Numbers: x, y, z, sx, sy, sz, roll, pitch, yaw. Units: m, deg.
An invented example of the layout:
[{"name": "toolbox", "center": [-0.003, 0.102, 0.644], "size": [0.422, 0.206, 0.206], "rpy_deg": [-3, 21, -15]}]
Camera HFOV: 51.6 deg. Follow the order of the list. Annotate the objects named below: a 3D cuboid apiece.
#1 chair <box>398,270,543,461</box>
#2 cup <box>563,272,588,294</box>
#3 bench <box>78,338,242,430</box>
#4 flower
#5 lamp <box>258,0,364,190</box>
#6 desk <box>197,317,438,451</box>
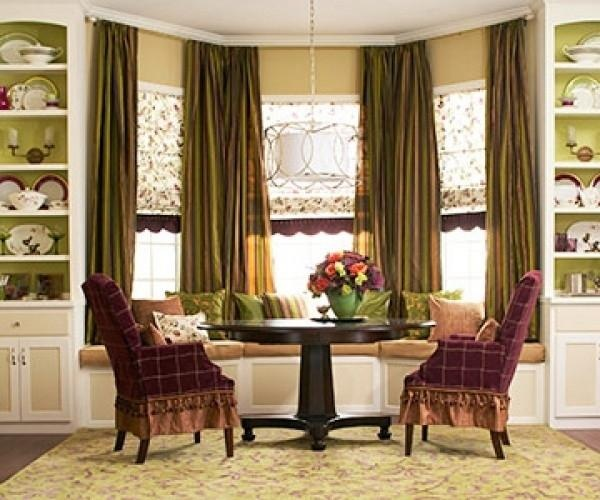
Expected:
[{"name": "chair", "center": [1.192, 0.836, 4.814], "size": [1.133, 1.577, 1.106], "rpy_deg": [1, -6, 15]}, {"name": "cup", "center": [2.355, 0.273, 5.269], "size": [0.167, 0.163, 0.163], "rpy_deg": [0, 4, 0]}, {"name": "bench", "center": [-1.350, 1.027, 5.305], "size": [0.831, 0.553, 0.850], "rpy_deg": [0, -2, -2]}, {"name": "flower", "center": [0.347, 0.182, 4.539], "size": [0.380, 0.243, 0.378], "rpy_deg": [2, -5, -30]}, {"name": "lamp", "center": [0.031, -1.298, 5.235], "size": [0.942, 1.641, 1.874], "rpy_deg": [0, 0, 4]}, {"name": "desk", "center": [0.131, 1.008, 4.629], "size": [1.557, 0.948, 1.633], "rpy_deg": [-1, -5, 7]}]
